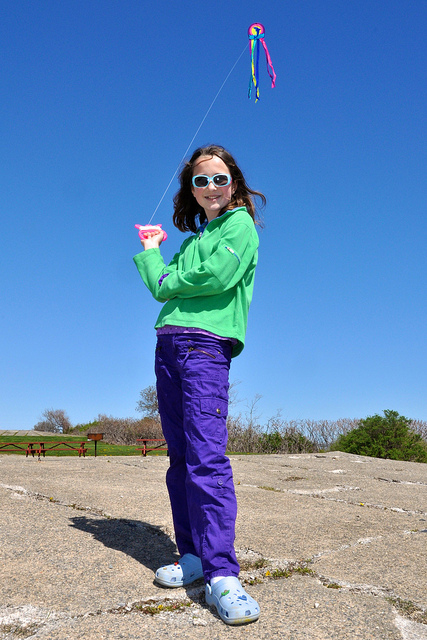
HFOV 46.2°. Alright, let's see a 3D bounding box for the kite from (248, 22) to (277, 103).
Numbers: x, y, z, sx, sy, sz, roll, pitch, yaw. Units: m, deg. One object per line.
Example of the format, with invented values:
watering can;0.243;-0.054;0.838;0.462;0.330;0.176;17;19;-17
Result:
kite;0.262;-1.397;2.715;0.146;0.601;0.066;-4;-26;8
